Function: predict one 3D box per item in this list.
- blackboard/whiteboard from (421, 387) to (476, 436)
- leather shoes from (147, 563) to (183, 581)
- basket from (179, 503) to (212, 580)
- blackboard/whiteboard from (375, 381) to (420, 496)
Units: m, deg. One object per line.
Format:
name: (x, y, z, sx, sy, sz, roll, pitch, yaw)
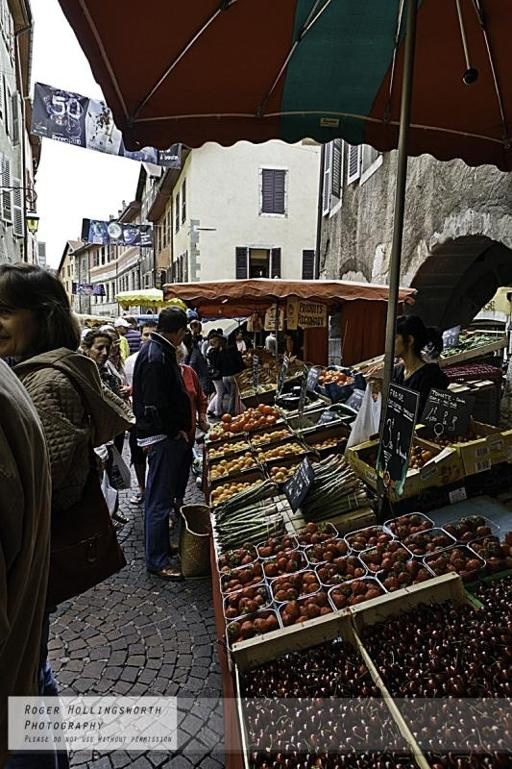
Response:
blackboard/whiteboard: (1.272, 0.195, 3.292, 0.257, 0.297, 0.340, -6, 13, -33)
leather shoes: (-0.724, 1.485, 3.921, 0.270, 0.112, 0.103, 0, -2, 15)
basket: (-0.512, 1.248, 4.027, 0.400, 0.559, 0.433, 0, 13, -8)
blackboard/whiteboard: (0.649, 0.258, 2.279, 0.174, 0.517, 0.229, 0, 12, -18)
